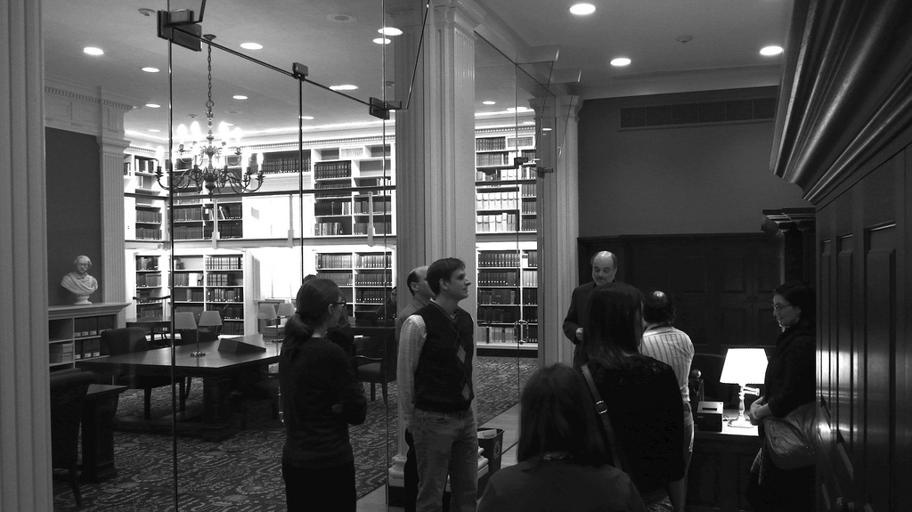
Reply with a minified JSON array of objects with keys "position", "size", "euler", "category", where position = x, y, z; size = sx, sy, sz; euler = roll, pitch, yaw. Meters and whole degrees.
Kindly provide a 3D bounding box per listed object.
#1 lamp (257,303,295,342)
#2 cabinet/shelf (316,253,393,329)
[{"position":[-1.148,0.399,4.316],"size":[0.289,0.250,0.256],"euler":[2,2,-13],"category":"lamp"},{"position":[-0.710,0.241,4.686],"size":[0.202,0.523,0.601],"euler":[-1,-3,26],"category":"cabinet/shelf"}]
